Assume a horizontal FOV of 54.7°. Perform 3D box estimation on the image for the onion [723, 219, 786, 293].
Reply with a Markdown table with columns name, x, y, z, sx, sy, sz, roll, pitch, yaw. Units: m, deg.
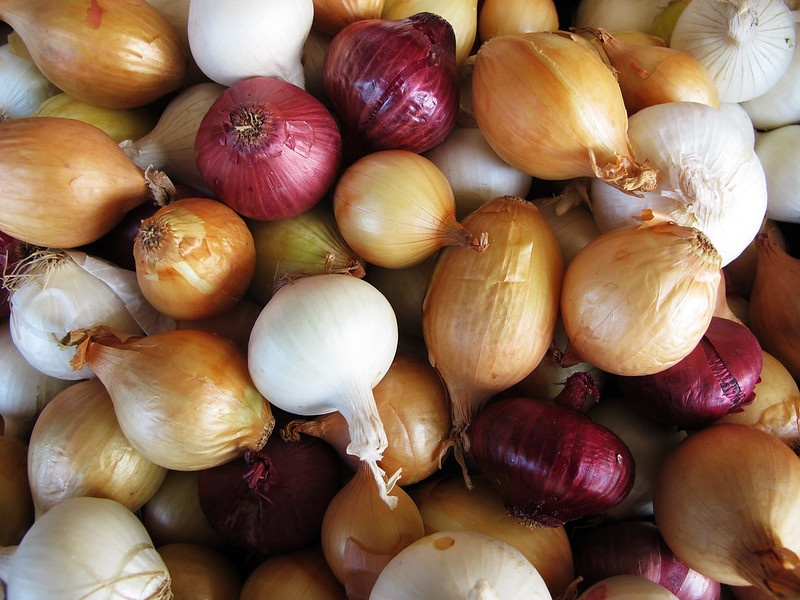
| name | x | y | z | sx | sy | sz | roll | pitch | yaw |
| --- | --- | --- | --- | --- | --- | --- | --- | --- | --- |
| onion | 0.730 | -0.086 | 1.609 | 0.074 | 0.110 | 0.082 | 23 | 54 | 13 |
